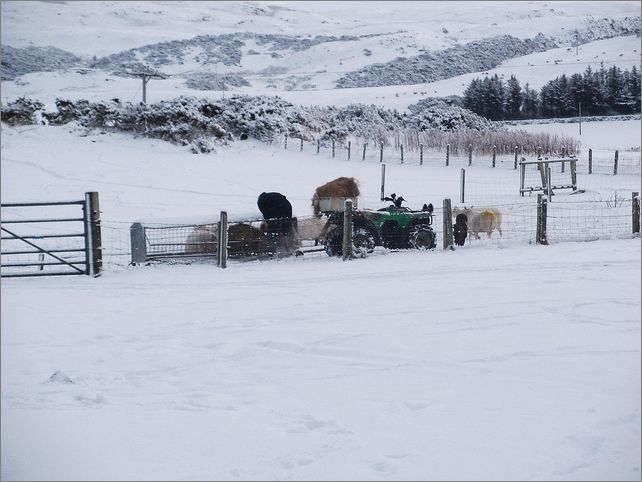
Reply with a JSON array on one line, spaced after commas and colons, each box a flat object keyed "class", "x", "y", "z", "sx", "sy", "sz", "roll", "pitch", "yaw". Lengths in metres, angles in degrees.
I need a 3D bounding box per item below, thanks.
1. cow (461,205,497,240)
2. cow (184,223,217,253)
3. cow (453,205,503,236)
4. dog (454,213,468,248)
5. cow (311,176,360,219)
[{"class": "cow", "x": 7.794, "y": -0.823, "z": 56.887, "sx": 2.665, "sy": 1.715, "sz": 0.999, "roll": 3, "pitch": -4, "yaw": 32}, {"class": "cow", "x": -5.668, "y": -0.056, "z": 55.118, "sx": 1.551, "sy": 1.263, "sz": 0.325, "roll": -2, "pitch": -10, "yaw": 0}, {"class": "cow", "x": 7.780, "y": -1.011, "z": 56.982, "sx": 2.023, "sy": 1.580, "sz": 1.951, "roll": -11, "pitch": 13, "yaw": -38}, {"class": "dog", "x": 6.673, "y": -0.546, "z": 56.163, "sx": 0.783, "sy": 1.539, "sz": 0.482, "roll": 0, "pitch": 2, "yaw": -10}, {"class": "cow", "x": 0.668, "y": -2.150, "z": 57.691, "sx": 2.261, "sy": 2.021, "sz": 3.204, "roll": 1, "pitch": 2, "yaw": 2}]
